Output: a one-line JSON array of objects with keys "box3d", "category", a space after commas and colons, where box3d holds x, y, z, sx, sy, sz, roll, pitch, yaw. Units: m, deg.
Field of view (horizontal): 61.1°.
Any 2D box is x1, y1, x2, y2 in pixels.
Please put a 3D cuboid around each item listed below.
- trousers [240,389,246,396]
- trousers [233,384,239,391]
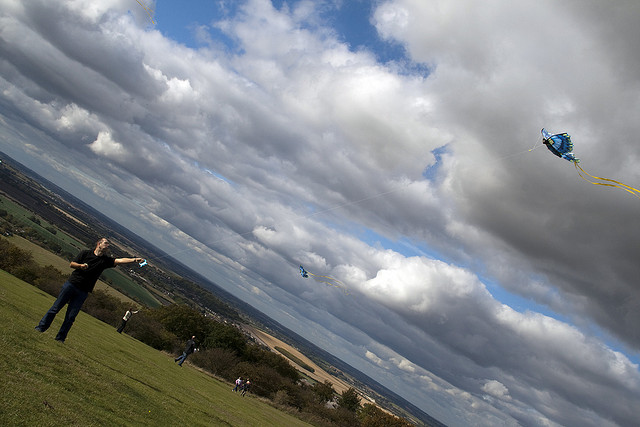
[{"box3d": [-13.718, 32.962, 98.126, 0.945, 1.884, 1.079, -3, 7, -26], "category": "trousers"}, {"box3d": [-14.545, 30.682, 95.231, 0.527, 1.059, 2.307, 37, -16, 4], "category": "trousers"}]
